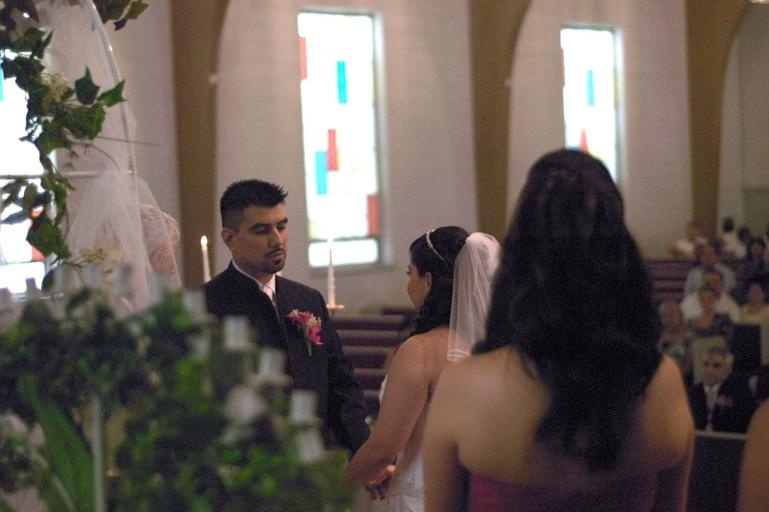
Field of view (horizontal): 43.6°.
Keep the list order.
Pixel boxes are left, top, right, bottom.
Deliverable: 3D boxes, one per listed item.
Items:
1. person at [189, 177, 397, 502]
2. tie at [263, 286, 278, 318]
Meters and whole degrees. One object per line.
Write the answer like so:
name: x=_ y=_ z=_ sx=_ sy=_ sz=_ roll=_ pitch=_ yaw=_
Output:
person: x=-0.533 y=0.507 z=4.653 sx=0.951 sy=1.722 sz=0.927 roll=-4 pitch=1 yaw=7
tie: x=-0.561 y=0.227 z=4.706 sx=0.081 sy=0.114 sz=0.067 roll=-7 pitch=20 yaw=-21
